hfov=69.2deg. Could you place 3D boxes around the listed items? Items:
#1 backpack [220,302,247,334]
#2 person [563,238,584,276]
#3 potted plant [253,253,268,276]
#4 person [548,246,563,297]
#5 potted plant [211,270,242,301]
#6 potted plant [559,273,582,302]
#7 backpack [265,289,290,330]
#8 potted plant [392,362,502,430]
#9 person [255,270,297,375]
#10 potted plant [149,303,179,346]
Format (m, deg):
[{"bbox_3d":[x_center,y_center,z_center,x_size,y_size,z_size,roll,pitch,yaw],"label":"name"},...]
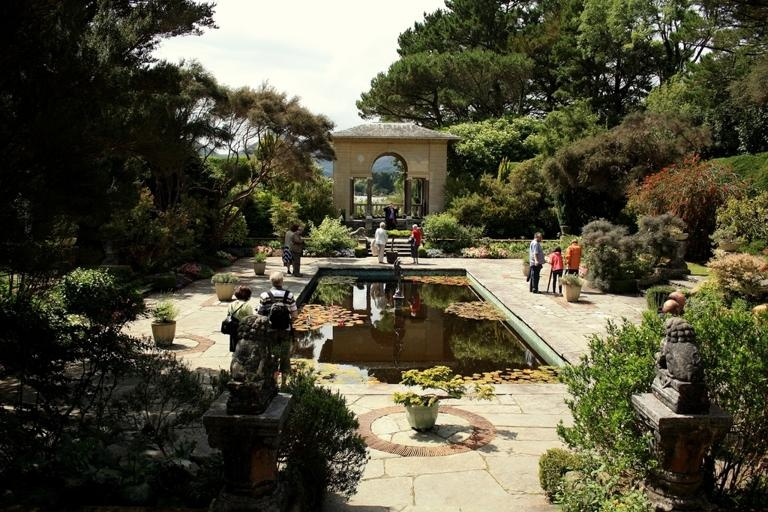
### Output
[{"bbox_3d":[-2.433,1.034,9.067,0.297,0.529,0.351,12,2,0],"label":"backpack"},{"bbox_3d":[5.819,0.044,17.202,0.386,1.075,0.775,1,1,16],"label":"person"},{"bbox_3d":[-4.472,0.325,20.404,0.692,0.999,0.668,0,2,-4],"label":"potted plant"},{"bbox_3d":[5.382,0.501,17.557,0.470,1.335,1.926,1,1,17],"label":"person"},{"bbox_3d":[-4.337,0.847,15.380,0.739,0.774,0.752,0,2,-1],"label":"potted plant"},{"bbox_3d":[5.426,0.931,16.477,0.726,0.811,0.670,0,5,2],"label":"potted plant"},{"bbox_3d":[-1.795,0.928,9.694,0.420,0.676,0.661,-1,3,-6],"label":"backpack"},{"bbox_3d":[0.855,2.115,8.449,1.280,0.795,1.032,0,1,16],"label":"potted plant"},{"bbox_3d":[-1.811,1.168,9.775,0.647,1.973,0.553,4,26,2],"label":"person"},{"bbox_3d":[-4.427,1.404,11.325,0.477,0.868,0.640,0,1,-24],"label":"potted plant"}]
